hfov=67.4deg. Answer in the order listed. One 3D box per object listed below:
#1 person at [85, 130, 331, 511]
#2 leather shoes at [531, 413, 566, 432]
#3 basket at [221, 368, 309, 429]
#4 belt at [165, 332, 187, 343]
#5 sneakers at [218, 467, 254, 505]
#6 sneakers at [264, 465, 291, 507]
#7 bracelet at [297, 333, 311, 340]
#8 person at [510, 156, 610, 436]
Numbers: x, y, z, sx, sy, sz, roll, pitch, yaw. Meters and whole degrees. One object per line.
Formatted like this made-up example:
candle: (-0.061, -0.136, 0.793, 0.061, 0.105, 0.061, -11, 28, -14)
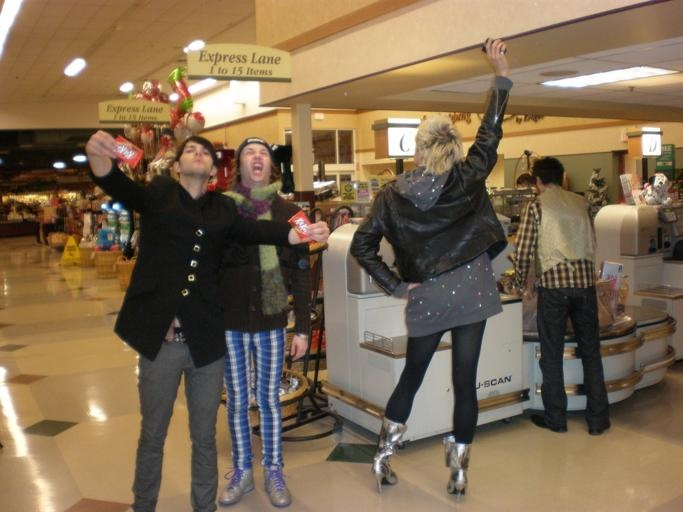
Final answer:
person: (-0.719, 0.346, 2.499, 0.857, 1.860, 0.400, -5, 7, -28)
leather shoes: (1.522, 1.231, 3.798, 0.089, 0.106, 0.263, -9, 19, -27)
basket: (-0.432, 0.984, 3.773, 0.540, 0.200, 0.548, -4, 1, -16)
belt: (-0.790, 0.380, 2.405, 0.084, 0.053, 0.022, -2, 6, -9)
sneakers: (-0.623, 1.357, 3.038, 0.099, 0.170, 0.278, -3, -7, 20)
sneakers: (-0.388, 1.346, 3.049, 0.096, 0.155, 0.262, -4, -1, -22)
bracelet: (-0.227, 0.476, 3.001, 0.047, 0.034, 0.052, -22, -10, 35)
person: (1.618, 0.379, 3.795, 0.673, 1.767, 0.317, 0, 6, 11)
